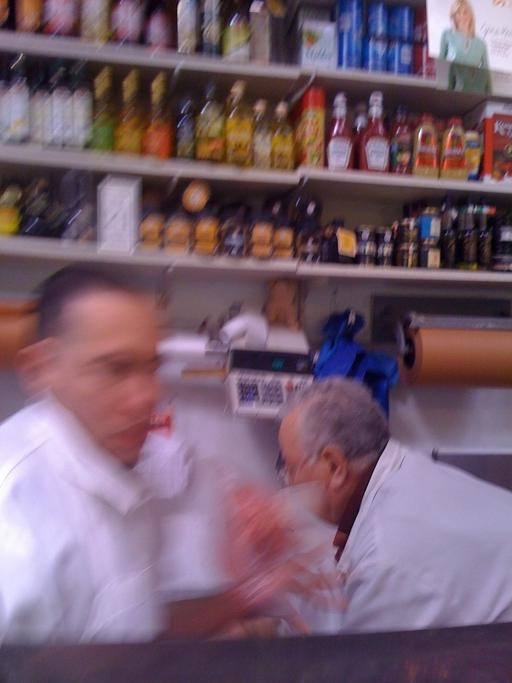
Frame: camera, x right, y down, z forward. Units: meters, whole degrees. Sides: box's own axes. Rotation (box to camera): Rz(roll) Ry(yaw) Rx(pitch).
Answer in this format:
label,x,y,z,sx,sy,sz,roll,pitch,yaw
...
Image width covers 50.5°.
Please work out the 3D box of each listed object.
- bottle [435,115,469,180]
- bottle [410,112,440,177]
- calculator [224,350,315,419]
label,x,y,z,sx,sy,sz,roll,pitch,yaw
bottle,0.389,-0.378,1.073,0.047,0.115,0.045,0,12,0
bottle,0.342,-0.372,1.075,0.049,0.139,0.045,0,11,0
calculator,0.013,0.050,0.653,0.090,0.087,0.023,0,-7,-12
